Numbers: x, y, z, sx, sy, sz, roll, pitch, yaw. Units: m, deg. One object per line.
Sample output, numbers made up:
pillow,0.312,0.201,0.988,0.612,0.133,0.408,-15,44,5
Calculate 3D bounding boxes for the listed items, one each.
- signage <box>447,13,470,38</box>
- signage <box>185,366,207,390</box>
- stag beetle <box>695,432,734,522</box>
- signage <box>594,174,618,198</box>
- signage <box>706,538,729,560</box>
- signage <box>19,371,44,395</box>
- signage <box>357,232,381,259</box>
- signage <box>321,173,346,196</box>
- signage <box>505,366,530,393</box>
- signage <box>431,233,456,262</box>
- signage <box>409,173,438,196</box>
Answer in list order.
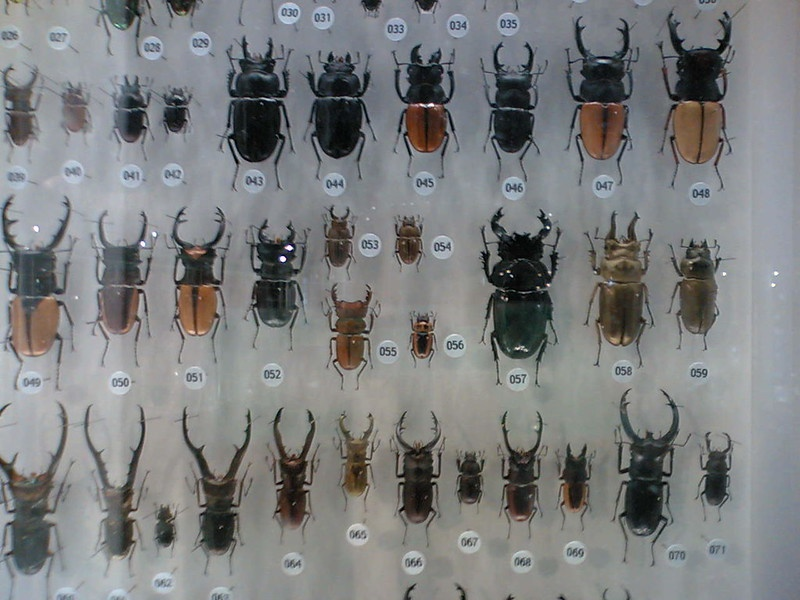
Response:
signage,0.392,-1.873,8.984,0.120,0.152,0.134,-1,14,0
signage,-1.394,0.537,9.009,0.110,0.117,0.017,16,-8,-10
stag beetle,2.145,1.214,8.987,0.220,0.595,0.153,3,2,10
signage,1.388,-0.774,9.006,0.160,0.159,0.037,0,9,-11
signage,2.153,1.704,8.981,0.131,0.123,0.031,4,9,12
signage,-2.537,0.559,9.070,0.131,0.166,0.146,4,1,-6
signage,-0.219,-0.382,8.993,0.110,0.119,0.016,35,-7,-9
signage,-0.453,-0.793,9.075,0.129,0.166,0.147,-2,-2,4
signage,0.787,0.551,8.996,0.119,0.148,0.019,-11,-4,-8
signage,0.284,-0.367,9.000,0.148,0.189,0.023,3,5,6
signage,0.159,-0.785,8.998,0.121,0.155,0.019,1,-8,-2
